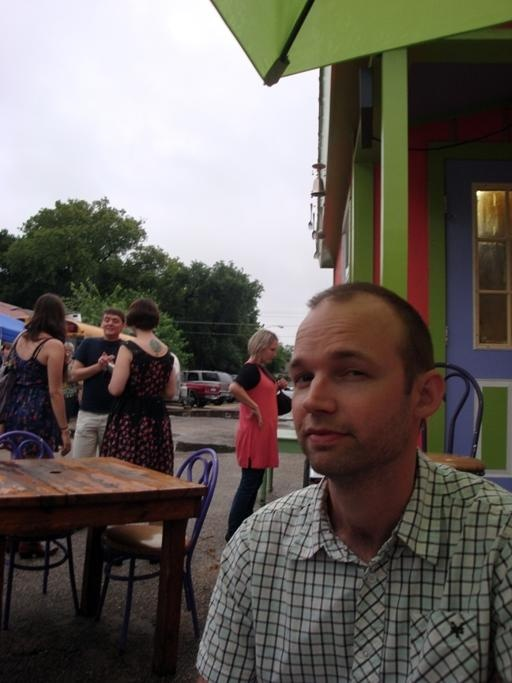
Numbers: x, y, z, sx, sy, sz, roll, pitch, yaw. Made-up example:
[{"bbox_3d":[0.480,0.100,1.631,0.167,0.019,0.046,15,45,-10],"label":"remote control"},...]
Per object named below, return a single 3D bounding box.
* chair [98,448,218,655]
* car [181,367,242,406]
[{"bbox_3d":[-0.483,0.992,2.953,0.512,0.924,0.424,2,1,-17],"label":"chair"},{"bbox_3d":[-2.277,2.143,26.526,1.873,1.475,3.147,1,0,-43],"label":"car"}]
